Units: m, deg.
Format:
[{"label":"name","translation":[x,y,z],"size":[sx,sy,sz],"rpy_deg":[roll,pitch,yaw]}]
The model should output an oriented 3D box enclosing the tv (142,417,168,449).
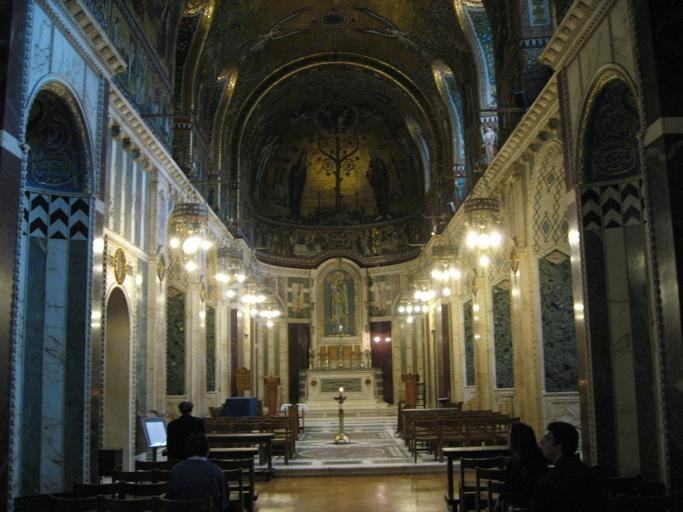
[{"label":"tv","translation":[-4.039,3.849,18.410],"size":[0.071,0.668,1.077],"rpy_deg":[-14,-2,-40]}]
